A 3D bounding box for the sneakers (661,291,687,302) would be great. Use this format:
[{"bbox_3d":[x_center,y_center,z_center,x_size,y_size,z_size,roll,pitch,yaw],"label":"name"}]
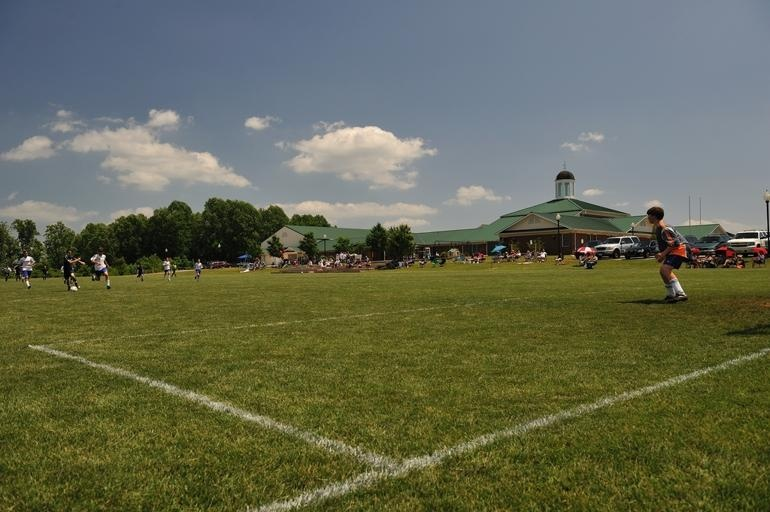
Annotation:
[{"bbox_3d":[6.453,0.903,14.485,0.523,0.236,0.186,-4,2,-14],"label":"sneakers"}]
